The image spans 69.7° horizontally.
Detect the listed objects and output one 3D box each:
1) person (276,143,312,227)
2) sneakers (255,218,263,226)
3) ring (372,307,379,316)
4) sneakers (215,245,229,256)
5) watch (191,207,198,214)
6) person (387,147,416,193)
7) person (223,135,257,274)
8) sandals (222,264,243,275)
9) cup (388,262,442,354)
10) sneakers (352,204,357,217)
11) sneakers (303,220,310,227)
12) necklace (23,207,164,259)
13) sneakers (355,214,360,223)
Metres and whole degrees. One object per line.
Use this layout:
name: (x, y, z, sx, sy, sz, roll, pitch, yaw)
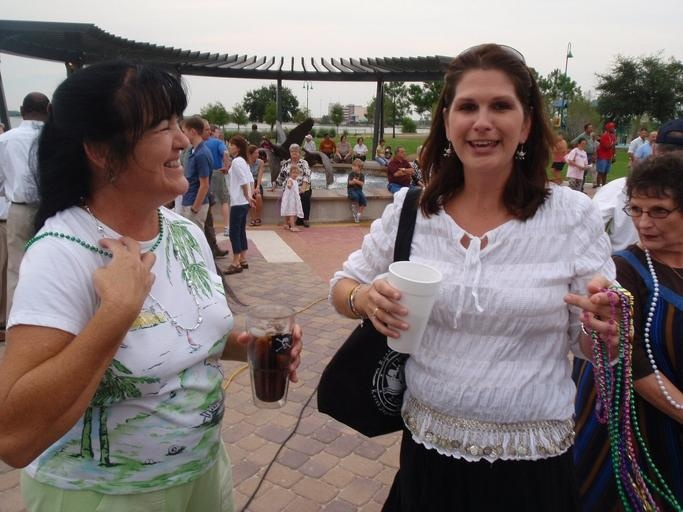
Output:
person: (-1.101, -1.725, 12.203, 1.020, 1.841, 1.038, -12, 21, -26)
sneakers: (-2.114, -0.868, 12.492, 0.180, 0.152, 0.545, -2, 3, -13)
ring: (0.122, 0.203, 1.790, 0.006, 0.026, 0.025, 18, 57, 8)
sneakers: (-2.227, -0.095, 9.131, 0.088, 0.189, 0.266, 15, 27, 22)
watch: (-2.185, -0.679, 7.300, 0.083, 0.077, 0.077, 0, 14, -2)
person: (1.766, -2.435, 14.041, 0.918, 1.267, 0.981, 4, 21, 17)
person: (-1.829, -0.852, 8.166, 0.808, 2.212, 0.664, 2, 6, 0)
sandals: (-1.744, 0.219, 7.939, 0.325, 0.133, 0.128, -2, 1, -32)
cup: (0.251, 0.196, 1.754, 0.183, 0.326, 0.152, 4, 14, 8)
sneakers: (0.378, -1.227, 13.241, 0.099, 0.307, 0.214, 5, -3, 17)
sneakers: (-0.891, -0.817, 12.361, 0.111, 0.150, 0.381, -1, -13, -3)
necklace: (-0.812, -0.068, 1.717, 0.145, 0.119, 0.483, 13, 18, 38)
sneakers: (0.456, -1.019, 13.343, 0.135, 0.225, 0.079, -8, 3, 29)
